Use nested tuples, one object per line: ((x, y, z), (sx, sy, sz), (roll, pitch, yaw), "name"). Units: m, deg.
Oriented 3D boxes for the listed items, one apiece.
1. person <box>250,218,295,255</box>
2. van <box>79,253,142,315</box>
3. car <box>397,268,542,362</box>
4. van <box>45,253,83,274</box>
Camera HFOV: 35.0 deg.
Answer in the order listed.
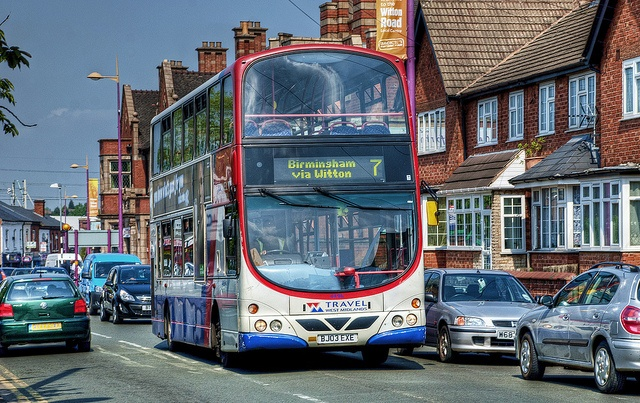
((-1.314, 0.775, 24.299), (0.896, 0.780, 1.442), (2, -2, -33), "person")
((-9.693, 3.483, 45.607), (2.440, 1.889, 3.931), (1, -6, -18), "van")
((4.318, 3.063, 28.468), (3.005, 2.360, 5.431), (3, -4, -13), "car")
((-16.811, 3.964, 66.402), (2.193, 1.994, 4.193), (0, -5, -23), "van")
